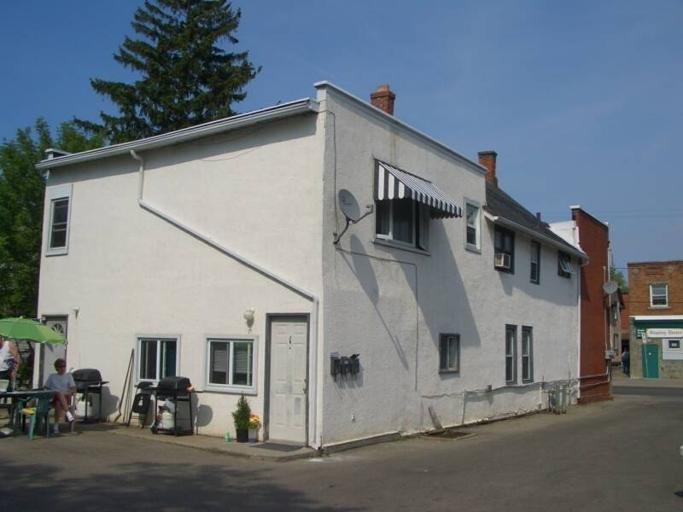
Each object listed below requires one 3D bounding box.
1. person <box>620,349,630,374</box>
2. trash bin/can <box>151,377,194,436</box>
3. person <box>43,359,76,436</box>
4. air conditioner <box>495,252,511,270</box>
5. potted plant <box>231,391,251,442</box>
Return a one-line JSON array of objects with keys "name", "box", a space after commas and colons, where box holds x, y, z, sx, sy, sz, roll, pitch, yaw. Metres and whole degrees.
[{"name": "person", "box": [20.748, 7.657, 56.643, 0.386, 1.595, 1.798, -1, 1, 16]}, {"name": "trash bin/can", "box": [-4.337, 3.857, 20.152, 1.061, 1.695, 1.339, -6, -14, 31]}, {"name": "person", "box": [-7.256, 3.587, 20.207, 0.726, 1.701, 1.336, -1, 1, -21]}, {"name": "air conditioner", "box": [5.439, 0.154, 26.092, 0.293, 0.555, 1.231, -1, 1, 27]}, {"name": "potted plant", "box": [-2.466, 4.013, 19.410, 0.448, 0.830, 0.394, -1, 1, -8]}]
